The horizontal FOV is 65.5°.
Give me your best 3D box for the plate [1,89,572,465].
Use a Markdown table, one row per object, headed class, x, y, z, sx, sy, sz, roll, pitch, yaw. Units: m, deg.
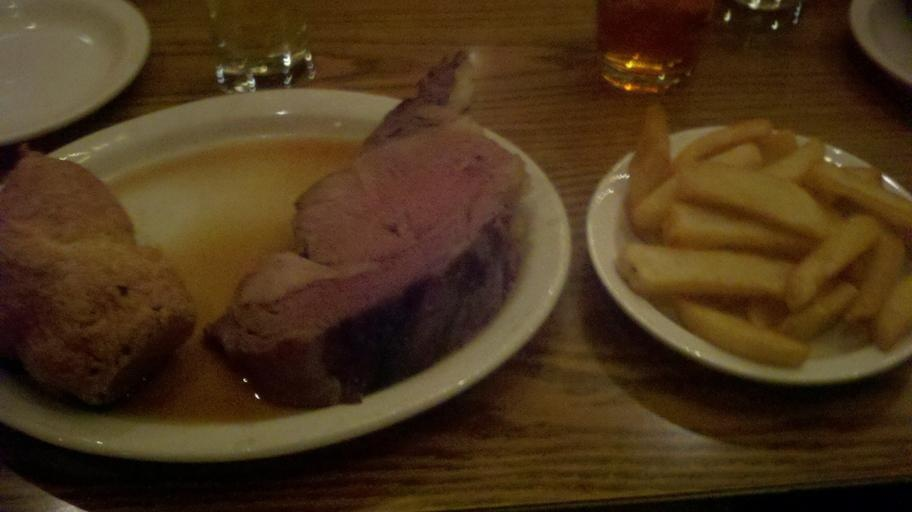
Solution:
| class | x | y | z | sx | sy | sz | roll | pitch | yaw |
| --- | --- | --- | --- | --- | --- | --- | --- | --- | --- |
| plate | -0.218 | -0.018 | 1.017 | 0.762 | 0.062 | 0.596 | -2 | 59 | -2 |
